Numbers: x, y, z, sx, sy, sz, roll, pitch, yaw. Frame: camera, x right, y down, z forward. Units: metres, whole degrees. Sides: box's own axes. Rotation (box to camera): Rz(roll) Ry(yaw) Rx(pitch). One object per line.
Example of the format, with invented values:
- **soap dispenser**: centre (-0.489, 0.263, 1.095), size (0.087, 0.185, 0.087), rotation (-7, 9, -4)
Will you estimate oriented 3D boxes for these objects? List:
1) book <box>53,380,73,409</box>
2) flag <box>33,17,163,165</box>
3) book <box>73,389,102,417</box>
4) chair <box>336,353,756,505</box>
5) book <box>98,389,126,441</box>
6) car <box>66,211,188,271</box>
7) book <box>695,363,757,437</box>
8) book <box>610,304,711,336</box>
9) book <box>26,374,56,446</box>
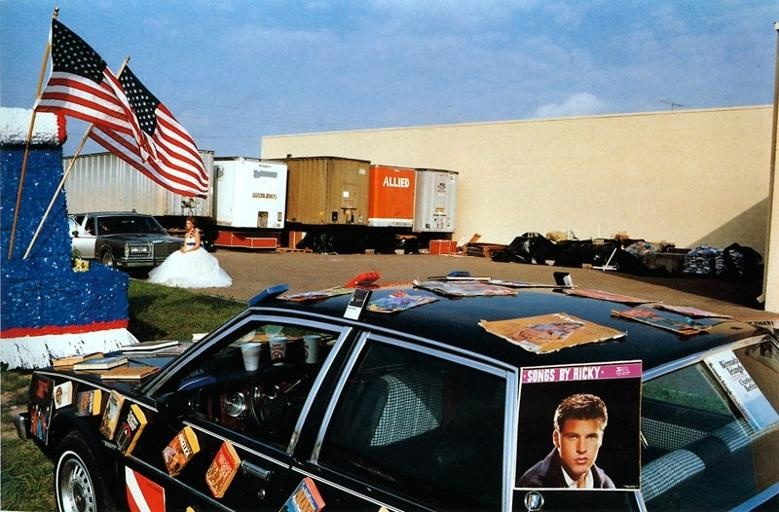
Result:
- **book**: centre (-2.441, 1.031, 4.634), size (0.208, 0.196, 0.050), rotation (-5, -15, 34)
- **flag**: centre (-3.354, -1.883, 7.413), size (2.016, 1.310, 0.199), rotation (32, 37, 15)
- **book**: centre (-2.171, 1.054, 4.472), size (0.230, 0.185, 0.081), rotation (-2, -7, 35)
- **chair**: centre (0.727, 0.961, 3.722), size (1.846, 0.840, 1.095), rotation (7, 7, 43)
- **book**: centre (-1.921, 1.107, 4.307), size (0.056, 0.359, 0.289), rotation (14, 5, -39)
- **car**: centre (-7.284, -0.209, 16.566), size (2.088, 1.047, 3.770), rotation (-5, 8, -43)
- **book**: centre (2.049, 0.860, 3.740), size (0.111, 0.440, 0.469), rotation (-36, -9, 7)
- **book**: centre (1.602, 0.372, 3.658), size (0.472, 0.066, 0.368), rotation (13, 19, 42)
- **book**: centre (-2.695, 1.184, 4.802), size (0.054, 0.637, 0.627), rotation (2, 3, -43)
